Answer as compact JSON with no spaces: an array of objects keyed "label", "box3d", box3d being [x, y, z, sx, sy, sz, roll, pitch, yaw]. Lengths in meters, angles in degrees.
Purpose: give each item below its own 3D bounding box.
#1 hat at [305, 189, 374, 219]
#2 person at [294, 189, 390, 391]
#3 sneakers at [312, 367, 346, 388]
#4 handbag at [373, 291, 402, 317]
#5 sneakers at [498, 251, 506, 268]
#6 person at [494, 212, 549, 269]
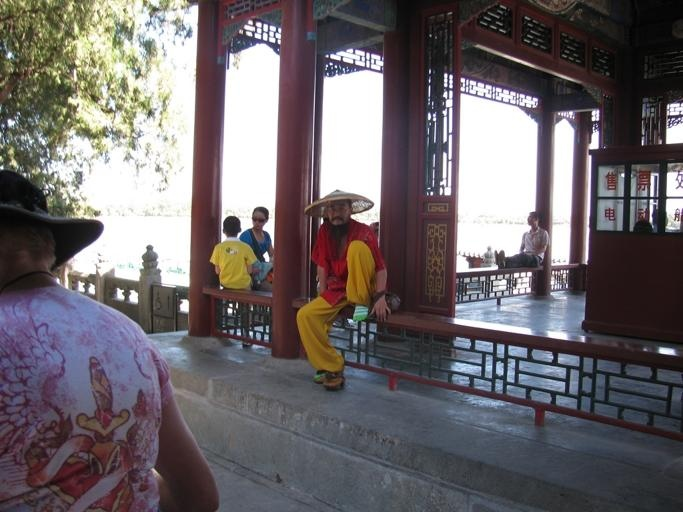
[{"label":"hat","box3d":[0.040,-0.434,4.487,0.325,0.117,0.348,-3,-4,-22]},{"label":"person","box3d":[-0.007,0.215,4.512,0.680,1.467,0.730,0,4,-4]},{"label":"sneakers","box3d":[-0.101,0.893,4.259,0.224,0.124,0.106,8,-16,-14]},{"label":"handbag","box3d":[0.322,0.342,4.323,0.216,0.194,0.206,0,5,-6]},{"label":"sneakers","box3d":[2.528,0.053,9.182,0.088,0.324,0.177,0,-3,30]},{"label":"person","box3d":[3.012,-0.284,9.467,1.154,0.901,0.464,-3,6,-39]}]
